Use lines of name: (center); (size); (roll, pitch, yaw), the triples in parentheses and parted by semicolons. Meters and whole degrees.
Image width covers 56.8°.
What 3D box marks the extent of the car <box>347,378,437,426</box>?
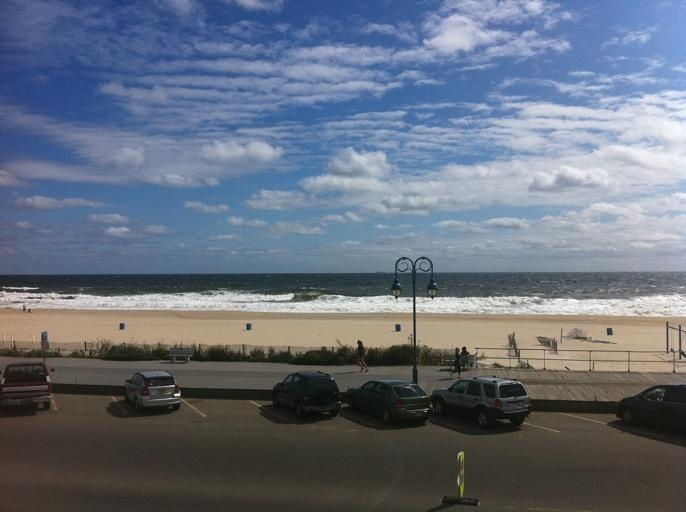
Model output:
car: (1.820, 5.800, 25.952); (1.463, 0.997, 3.091); (3, -1, -36)

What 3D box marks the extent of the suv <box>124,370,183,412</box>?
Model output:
suv: (-7.795, 5.677, 26.350); (1.983, 1.529, 1.383); (-1, 9, -8)

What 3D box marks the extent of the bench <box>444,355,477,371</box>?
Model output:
bench: (6.400, 5.811, 34.199); (1.088, 0.555, 1.408); (0, -4, 0)

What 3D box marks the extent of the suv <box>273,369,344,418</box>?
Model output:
suv: (-1.557, 5.723, 26.205); (2.650, 1.792, 1.475); (8, 12, 43)

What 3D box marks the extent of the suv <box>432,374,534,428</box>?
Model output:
suv: (5.644, 5.726, 25.642); (1.823, 1.337, 3.178); (6, -2, -36)

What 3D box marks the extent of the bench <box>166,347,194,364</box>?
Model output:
bench: (-9.344, 5.479, 36.771); (1.708, 1.008, 0.761); (0, -45, -1)
